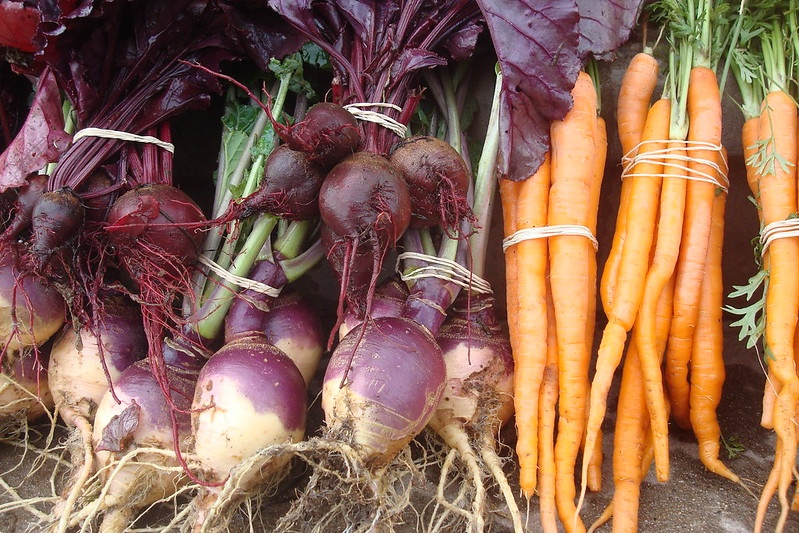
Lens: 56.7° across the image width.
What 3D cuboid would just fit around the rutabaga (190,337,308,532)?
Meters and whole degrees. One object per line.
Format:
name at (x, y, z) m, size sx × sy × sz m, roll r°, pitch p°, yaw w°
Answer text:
rutabaga at (-0.501, 0.489, 2.343) m, size 0.296 × 0.584 × 0.297 m, roll 24°, pitch -18°, yaw -7°

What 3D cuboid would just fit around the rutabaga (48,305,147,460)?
rutabaga at (-0.972, 0.363, 2.527) m, size 0.274 × 0.513 × 0.291 m, roll 8°, pitch -15°, yaw 21°

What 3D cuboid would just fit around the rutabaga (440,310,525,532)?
rutabaga at (0.237, 0.449, 2.358) m, size 0.220 × 0.721 × 0.222 m, roll -14°, pitch -22°, yaw 20°
